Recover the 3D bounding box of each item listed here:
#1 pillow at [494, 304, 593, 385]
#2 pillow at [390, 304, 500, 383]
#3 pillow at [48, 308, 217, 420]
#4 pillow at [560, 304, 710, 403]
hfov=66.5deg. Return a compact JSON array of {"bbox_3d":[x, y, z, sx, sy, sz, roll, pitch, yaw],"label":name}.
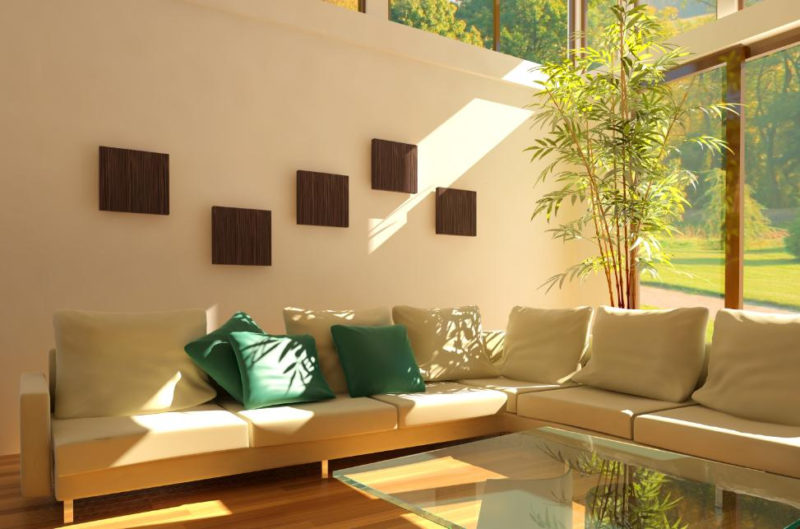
[{"bbox_3d":[1.337,0.775,5.793,0.838,0.734,0.445,2,2,45],"label":"pillow"},{"bbox_3d":[0.448,0.777,5.805,1.019,0.735,0.449,0,-5,-18],"label":"pillow"},{"bbox_3d":[-2.045,0.740,4.723,1.179,0.851,0.446,1,-13,-32],"label":"pillow"},{"bbox_3d":[2.062,0.732,5.251,1.048,0.752,0.519,2,2,44],"label":"pillow"}]
